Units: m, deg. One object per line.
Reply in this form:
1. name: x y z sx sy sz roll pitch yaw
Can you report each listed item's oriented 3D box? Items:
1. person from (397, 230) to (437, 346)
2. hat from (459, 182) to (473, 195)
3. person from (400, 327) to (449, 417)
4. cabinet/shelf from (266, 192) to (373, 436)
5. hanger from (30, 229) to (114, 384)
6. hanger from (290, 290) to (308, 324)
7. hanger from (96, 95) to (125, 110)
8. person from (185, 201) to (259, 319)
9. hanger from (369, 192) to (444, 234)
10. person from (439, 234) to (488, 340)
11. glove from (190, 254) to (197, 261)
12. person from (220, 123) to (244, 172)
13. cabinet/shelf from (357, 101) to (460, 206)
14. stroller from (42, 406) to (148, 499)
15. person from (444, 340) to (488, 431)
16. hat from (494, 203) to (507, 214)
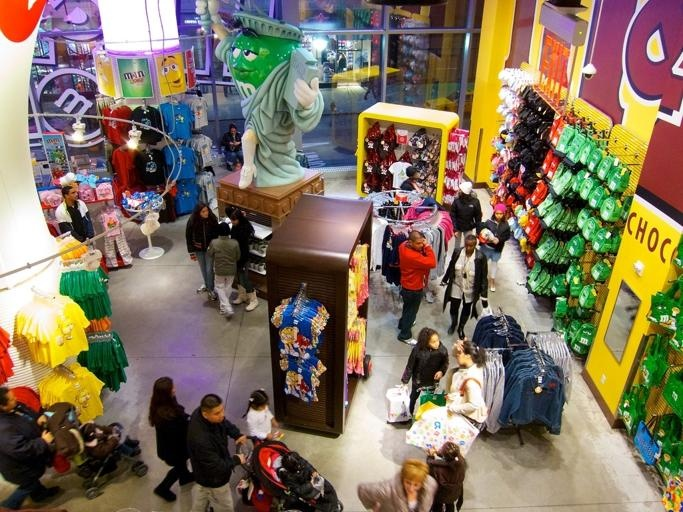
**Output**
1. person: 1.000 0.472 6.001 0.474 1.715 0.366 4 23 7
2. hat: 2.113 -1.154 7.346 0.182 0.218 0.386 10 24 19
3. person: 0.948 1.441 5.039 0.525 1.384 0.369 -4 29 -7
4. cabinet/shelf: -0.219 0.705 4.725 0.760 1.966 2.021 8 39 10
5. hanger: -2.823 0.724 4.976 0.457 1.921 0.678 -13 26 -30
6. hanger: -0.408 0.487 4.289 0.127 0.275 0.257 4 23 6
7. hanger: -4.199 -2.786 7.994 0.365 0.343 0.057 -3 -2 -14
8. person: -1.900 0.043 6.683 0.492 1.676 1.023 -19 30 -40
9. hanger: 1.077 -0.722 6.954 0.817 0.380 0.837 -13 30 -22
10. person: 1.789 0.464 6.265 0.718 1.594 0.435 14 30 24
11. glove: -2.447 0.015 7.243 0.073 0.075 0.070 -16 44 2
12. person: -2.709 -2.678 10.851 0.479 1.080 0.851 -5 23 -14
13. cabinet/shelf: 1.389 -2.062 8.981 2.136 2.091 1.150 15 37 21
14. stroller: -2.527 1.925 4.459 0.542 0.837 0.760 -12 7 31
15. person: 1.342 1.337 4.695 0.426 0.871 0.612 3 25 9
16. hat: 2.550 -0.758 6.990 0.221 0.243 0.312 1 4 20
